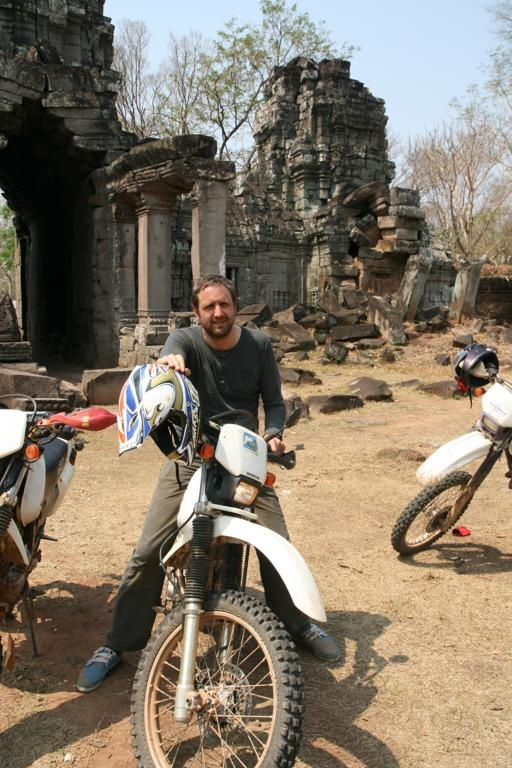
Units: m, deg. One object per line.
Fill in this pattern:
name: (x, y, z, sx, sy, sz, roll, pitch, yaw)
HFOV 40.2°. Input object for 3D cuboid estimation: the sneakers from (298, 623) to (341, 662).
sneakers: (0.269, 1.148, 3.149, 0.096, 0.087, 0.249, -12, 11, -38)

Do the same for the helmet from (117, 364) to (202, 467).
helmet: (-0.326, 0.107, 2.229, 0.241, 0.333, 0.338, -4, 2, 30)

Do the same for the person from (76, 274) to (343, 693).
person: (-0.261, 0.349, 2.765, 1.100, 1.498, 0.810, -4, 7, -26)

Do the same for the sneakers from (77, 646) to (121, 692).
sneakers: (-0.645, 1.173, 2.906, 0.073, 0.078, 0.214, 26, 12, 7)

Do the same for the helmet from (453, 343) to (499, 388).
helmet: (1.240, -0.093, 3.936, 0.255, 0.194, 0.252, -9, 29, 31)
